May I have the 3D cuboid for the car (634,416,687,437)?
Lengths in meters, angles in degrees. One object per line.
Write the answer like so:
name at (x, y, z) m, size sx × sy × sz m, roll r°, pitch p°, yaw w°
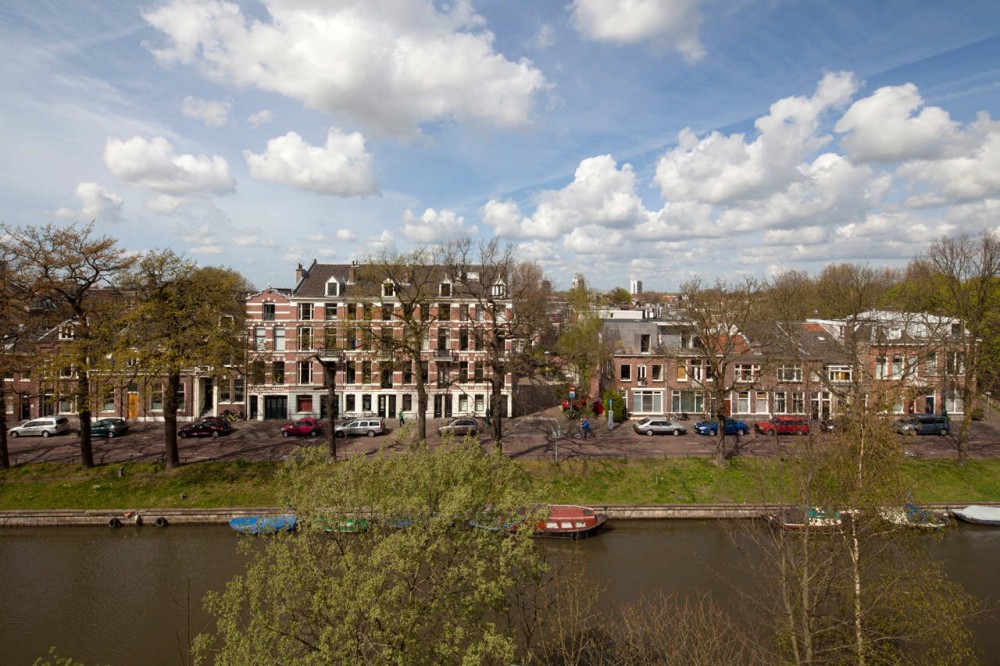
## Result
car at (14.217, 8.343, 78.891) m, size 3.923 × 1.291 × 1.811 m, roll -1°, pitch -1°, yaw 2°

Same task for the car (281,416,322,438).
car at (-17.382, 8.413, 79.145) m, size 2.885 × 1.353 × 1.683 m, roll 5°, pitch -4°, yaw -9°

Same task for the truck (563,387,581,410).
truck at (7.244, 6.711, 90.829) m, size 1.646 × 2.529 × 10.396 m, roll -3°, pitch -5°, yaw 4°

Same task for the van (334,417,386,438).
van at (-12.150, 8.435, 79.022) m, size 3.427 × 1.247 × 1.998 m, roll 3°, pitch -5°, yaw -2°

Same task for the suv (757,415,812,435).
suv at (24.988, 8.192, 78.340) m, size 4.170 × 1.394 × 2.032 m, roll 0°, pitch -1°, yaw 5°

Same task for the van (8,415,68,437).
van at (-40.657, 8.448, 79.159) m, size 3.786 × 1.609 × 1.916 m, roll 8°, pitch -7°, yaw -14°

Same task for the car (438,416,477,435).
car at (-3.189, 8.042, 77.765) m, size 2.759 × 1.357 × 1.892 m, roll 4°, pitch -8°, yaw -7°

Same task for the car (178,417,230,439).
car at (-25.788, 8.449, 78.683) m, size 4.021 × 1.441 × 1.840 m, roll 3°, pitch -2°, yaw -7°

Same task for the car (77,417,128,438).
car at (-34.021, 8.374, 78.130) m, size 2.844 × 1.664 × 2.108 m, roll -1°, pitch -5°, yaw -27°

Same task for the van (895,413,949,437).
van at (36.683, 8.098, 77.466) m, size 3.361 × 1.492 × 2.106 m, roll 2°, pitch 0°, yaw 15°

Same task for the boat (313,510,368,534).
boat at (-9.041, 10.919, 51.177) m, size 3.830 × 1.189 × 1.337 m, roll 5°, pitch -21°, yaw -32°
